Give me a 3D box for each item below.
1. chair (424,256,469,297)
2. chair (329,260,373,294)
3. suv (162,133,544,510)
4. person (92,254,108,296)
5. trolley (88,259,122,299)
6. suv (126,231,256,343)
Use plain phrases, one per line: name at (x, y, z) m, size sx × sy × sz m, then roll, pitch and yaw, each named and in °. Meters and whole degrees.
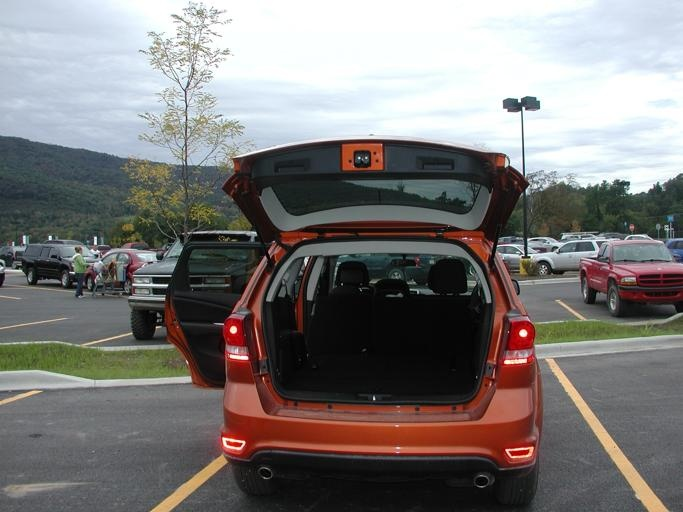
chair at (0.993, 0.184, 5.015) m, size 0.328 × 0.301 × 0.327 m, roll 0°, pitch 15°, yaw 9°
chair at (0.107, 0.234, 5.998) m, size 0.309 × 0.400 × 0.383 m, roll 1°, pitch 3°, yaw 6°
suv at (0.304, 0.352, 5.090) m, size 2.720 × 1.966 × 3.453 m, roll -1°, pitch 8°, yaw 4°
person at (-10.681, 0.929, 23.956) m, size 0.558 × 1.543 × 1.734 m, roll -2°, pitch 2°, yaw -24°
trolley at (-10.297, 0.969, 24.117) m, size 1.115 × 1.638 × 1.569 m, roll -2°, pitch -2°, yaw 10°
suv at (-3.497, 0.698, 11.739) m, size 2.147 × 1.953 × 3.928 m, roll 0°, pitch -1°, yaw 6°
